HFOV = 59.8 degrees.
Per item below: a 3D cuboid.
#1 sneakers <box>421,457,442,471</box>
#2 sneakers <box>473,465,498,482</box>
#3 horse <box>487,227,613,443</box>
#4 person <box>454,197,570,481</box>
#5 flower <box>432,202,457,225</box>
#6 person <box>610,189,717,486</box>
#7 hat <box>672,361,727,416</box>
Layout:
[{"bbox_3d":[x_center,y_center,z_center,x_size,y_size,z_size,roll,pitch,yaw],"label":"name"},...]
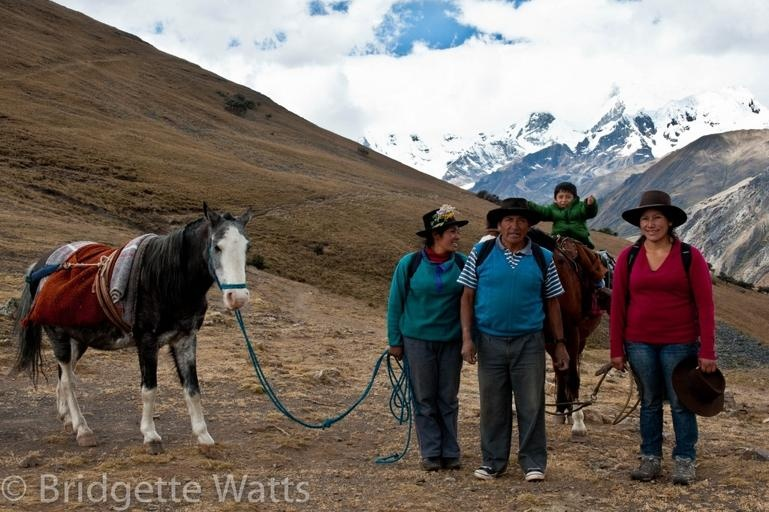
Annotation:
[{"bbox_3d":[0.714,3.130,10.038,0.333,0.146,0.144,-1,-19,20],"label":"sneakers"},{"bbox_3d":[1.479,3.177,9.763,0.374,0.126,0.144,32,-29,-32],"label":"sneakers"},{"bbox_3d":[3.422,1.154,12.451,1.333,3.378,5.123,-1,4,29],"label":"horse"},{"bbox_3d":[1.837,1.204,9.762,1.542,4.076,0.834,1,8,5],"label":"person"},{"bbox_3d":[0.905,-0.613,10.090,0.310,0.302,0.350,1,8,3],"label":"flower"},{"bbox_3d":[3.963,1.143,9.578,1.406,4.095,0.692,3,8,17],"label":"person"},{"bbox_3d":[4.477,1.843,9.459,0.775,0.804,0.237,0,8,-5],"label":"hat"}]
